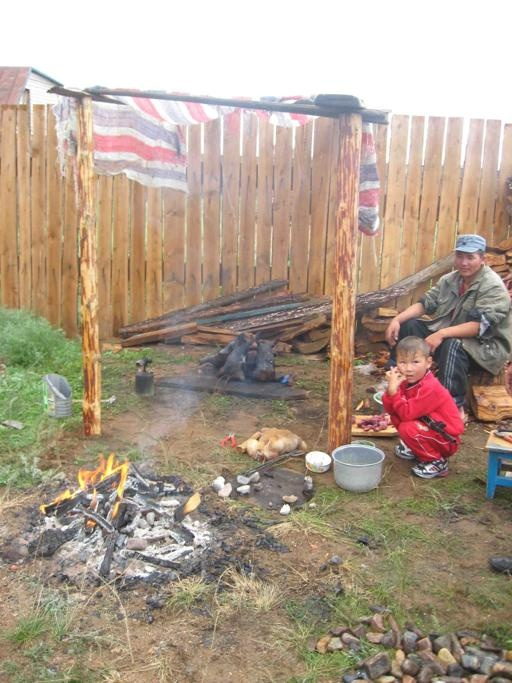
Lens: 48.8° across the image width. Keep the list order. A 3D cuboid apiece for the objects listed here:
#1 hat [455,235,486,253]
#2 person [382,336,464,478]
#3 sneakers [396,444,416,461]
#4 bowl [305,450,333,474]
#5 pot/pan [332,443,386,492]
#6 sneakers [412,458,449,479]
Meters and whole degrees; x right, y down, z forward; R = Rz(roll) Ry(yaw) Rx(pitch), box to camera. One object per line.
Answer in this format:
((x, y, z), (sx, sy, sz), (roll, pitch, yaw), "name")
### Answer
((2.023, -0.914, 5.278), (0.193, 0.128, 0.267), (9, 9, 44), "hat")
((1.236, 0.463, 4.196), (0.642, 0.951, 0.588), (9, 10, 33), "person")
((1.182, 0.877, 4.547), (0.069, 0.083, 0.183), (7, 21, -45), "sneakers")
((0.466, 0.891, 4.209), (0.196, 0.132, 0.178), (3, 11, 3), "bowl")
((0.707, 0.869, 3.906), (0.337, 0.187, 0.318), (0, 7, -1), "pot/pan")
((1.282, 0.934, 4.198), (0.288, 0.127, 0.102), (1, 10, -1), "sneakers")
